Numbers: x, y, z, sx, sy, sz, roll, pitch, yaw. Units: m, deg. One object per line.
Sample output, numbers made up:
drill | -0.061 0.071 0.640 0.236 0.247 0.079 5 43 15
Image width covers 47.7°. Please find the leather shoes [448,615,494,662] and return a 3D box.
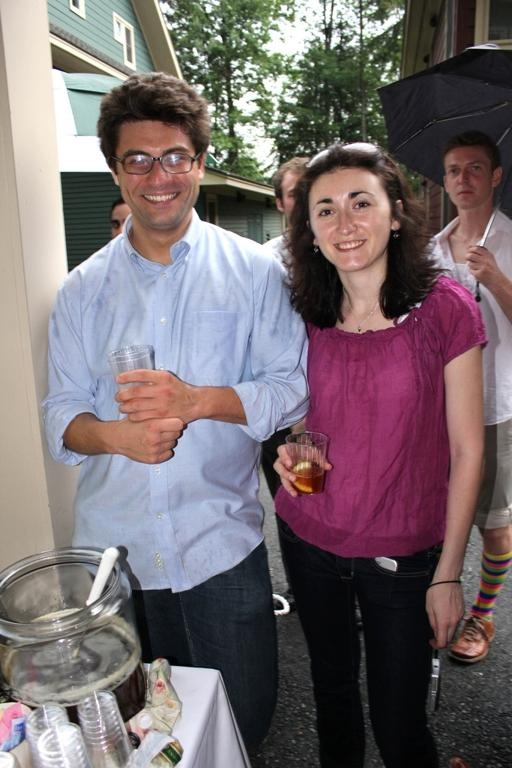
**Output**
leather shoes | 0.982 1.149 2.654 0.112 0.100 0.265 -5 2 28

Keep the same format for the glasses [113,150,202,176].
glasses | -0.283 -0.625 1.657 0.221 0.074 0.100 -8 17 -9

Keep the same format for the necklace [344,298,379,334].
necklace | 0.303 -0.195 1.704 0.099 0.091 0.039 -4 -8 30

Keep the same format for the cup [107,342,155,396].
cup | -0.325 -0.058 1.526 0.109 0.089 0.187 -9 17 -12

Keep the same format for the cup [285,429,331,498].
cup | 0.145 0.223 1.591 0.164 0.187 0.156 0 -16 0
